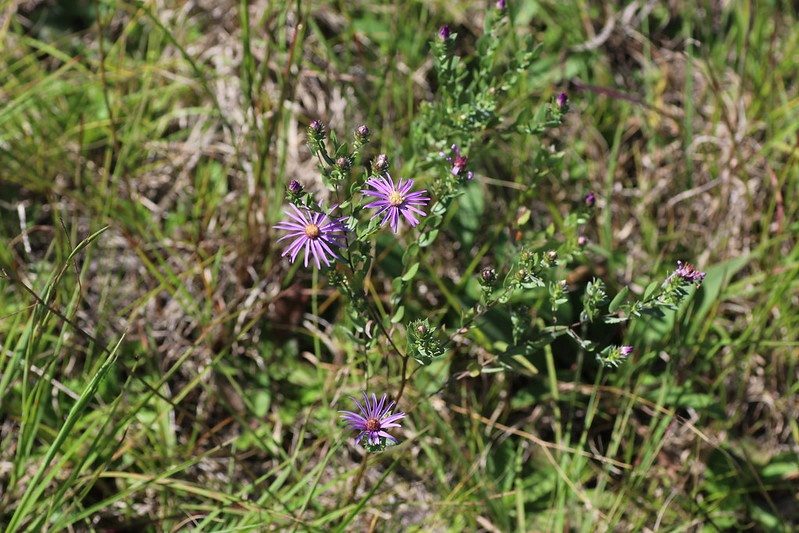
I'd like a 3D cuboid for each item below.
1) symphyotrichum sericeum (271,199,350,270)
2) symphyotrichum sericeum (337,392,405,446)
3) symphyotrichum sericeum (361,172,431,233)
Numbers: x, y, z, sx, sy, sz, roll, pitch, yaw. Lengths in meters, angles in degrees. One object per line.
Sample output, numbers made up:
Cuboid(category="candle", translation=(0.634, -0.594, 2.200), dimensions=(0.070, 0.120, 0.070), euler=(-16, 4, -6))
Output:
Cuboid(category="symphyotrichum sericeum", translation=(-0.299, -0.090, 2.452), dimensions=(0.230, 0.230, 0.057), euler=(-3, 76, -45))
Cuboid(category="symphyotrichum sericeum", translation=(-0.093, 0.533, 2.463), dimensions=(0.254, 0.073, 0.266), euler=(0, 16, -37))
Cuboid(category="symphyotrichum sericeum", translation=(-0.014, -0.252, 2.443), dimensions=(0.245, 0.267, 0.070), euler=(-3, 80, 28))
